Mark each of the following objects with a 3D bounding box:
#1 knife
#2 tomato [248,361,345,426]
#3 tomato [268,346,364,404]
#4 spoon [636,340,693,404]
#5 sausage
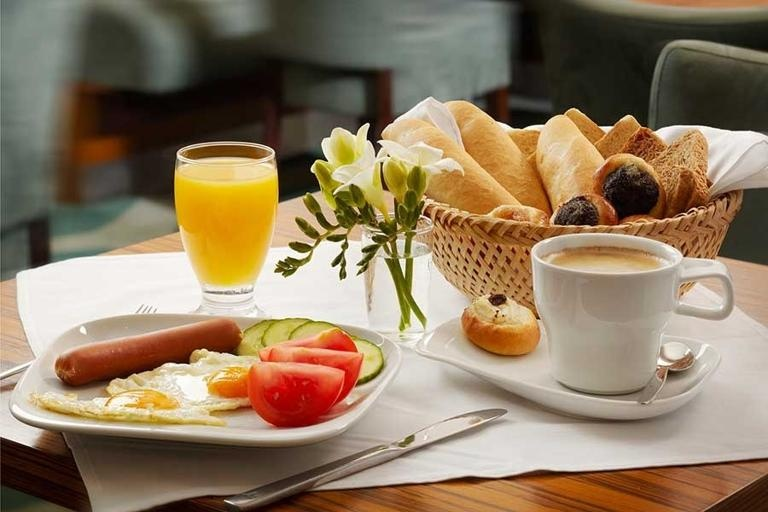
[{"bbox_3d":[-0.022,0.198,0.602,0.282,0.013,0.035,-12,27,-26],"label":"knife"},{"bbox_3d":[-0.085,0.146,0.603,0.072,0.045,0.070,2,-26,-8],"label":"tomato"},{"bbox_3d":[-0.073,0.130,0.678,0.106,0.062,0.098,6,-19,-13],"label":"tomato"},{"bbox_3d":[0.319,0.121,0.717,0.038,0.018,0.137,24,29,18],"label":"spoon"},{"bbox_3d":[-0.253,0.104,0.726,0.242,0.061,0.062,-12,-9,-25],"label":"sausage"}]
